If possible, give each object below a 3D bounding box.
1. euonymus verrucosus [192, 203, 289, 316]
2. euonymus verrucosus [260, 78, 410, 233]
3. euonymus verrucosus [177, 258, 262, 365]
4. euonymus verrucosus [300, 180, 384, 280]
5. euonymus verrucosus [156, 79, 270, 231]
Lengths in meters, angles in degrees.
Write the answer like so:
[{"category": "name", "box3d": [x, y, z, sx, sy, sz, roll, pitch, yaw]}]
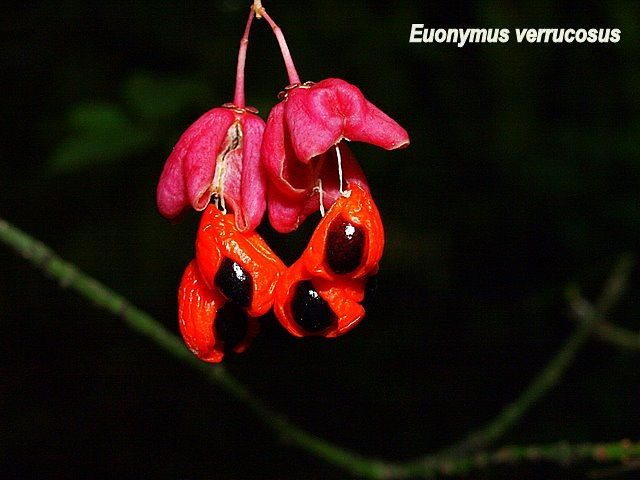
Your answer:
[{"category": "euonymus verrucosus", "box3d": [-0.225, 0.052, 1.824, 0.247, 0.292, 0.164, -6, 19, 1]}, {"category": "euonymus verrucosus", "box3d": [0.050, -0.286, 1.964, 0.447, 0.512, 0.322, -14, 52, -4]}, {"category": "euonymus verrucosus", "box3d": [-0.315, 0.228, 1.886, 0.240, 0.305, 0.130, -5, -8, -40]}, {"category": "euonymus verrucosus", "box3d": [0.070, -0.003, 1.763, 0.221, 0.220, 0.112, -16, 21, -26]}, {"category": "euonymus verrucosus", "box3d": [-0.296, -0.190, 1.880, 0.281, 0.452, 0.195, 9, -10, 4]}]
